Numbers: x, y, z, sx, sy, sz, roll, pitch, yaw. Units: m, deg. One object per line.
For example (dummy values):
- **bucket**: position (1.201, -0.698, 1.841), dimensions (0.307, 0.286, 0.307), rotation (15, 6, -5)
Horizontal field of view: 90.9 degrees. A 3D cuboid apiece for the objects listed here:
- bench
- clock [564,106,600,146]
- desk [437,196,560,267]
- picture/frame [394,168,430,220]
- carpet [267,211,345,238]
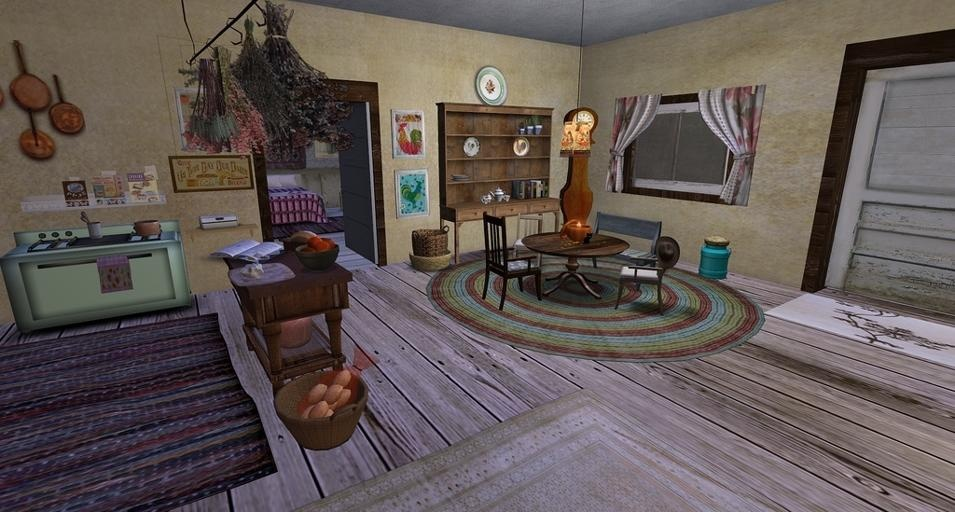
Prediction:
- **bench**: position (2.736, -0.234, 8.359), dimensions (1.426, 0.768, 0.515), rotation (7, 11, -20)
- **clock**: position (1.598, -1.939, 7.106), dimensions (0.381, 0.524, 0.434), rotation (11, 21, 36)
- **desk**: position (0.573, -0.631, 9.479), dimensions (2.217, 0.738, 0.510), rotation (-5, 8, 18)
- **picture/frame**: position (-1.250, -1.165, 8.899), dimensions (0.646, 0.876, 0.163), rotation (-14, 21, -34)
- **carpet**: position (-4.167, -0.725, 11.756), dimensions (1.765, 0.172, 1.859), rotation (-10, 16, -32)
